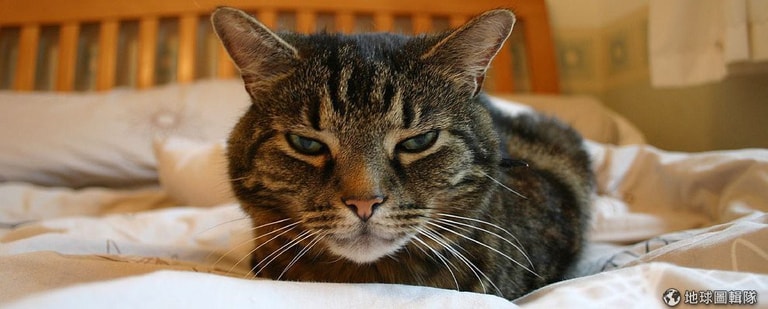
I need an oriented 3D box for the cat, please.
[{"bbox_3d":[0.146,-0.040,3.477,1.970,1.548,0.934,-8,25,-8],"label":"cat"}]
